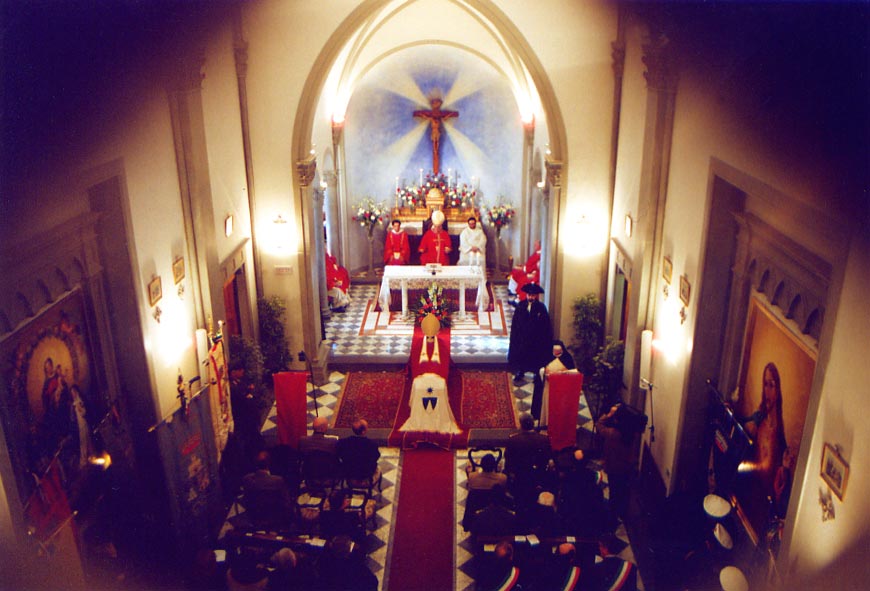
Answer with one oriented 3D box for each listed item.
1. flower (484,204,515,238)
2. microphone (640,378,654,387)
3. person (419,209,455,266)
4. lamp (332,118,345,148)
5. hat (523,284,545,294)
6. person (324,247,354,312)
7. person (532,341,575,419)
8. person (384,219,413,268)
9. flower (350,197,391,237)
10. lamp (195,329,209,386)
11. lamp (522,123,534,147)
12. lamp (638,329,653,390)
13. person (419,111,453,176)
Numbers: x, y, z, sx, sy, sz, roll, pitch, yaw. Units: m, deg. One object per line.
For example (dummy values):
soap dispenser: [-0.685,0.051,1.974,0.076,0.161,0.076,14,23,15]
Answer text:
flower: [1.808,-2.042,16.485,0.804,0.909,0.762,5,21,12]
microphone: [3.112,1.275,8.755,0.101,0.111,0.059,-16,41,-10]
person: [-0.001,-1.263,16.191,0.879,1.856,0.588,2,-24,-7]
lamp: [-2.435,-4.053,14.954,0.234,0.635,0.952,1,-1,-5]
hat: [1.840,-0.115,11.243,0.337,0.210,0.315,2,-1,-17]
person: [-2.425,-0.322,14.976,0.530,1.369,1.098,1,0,4]
person: [2.042,1.514,10.311,0.622,1.441,1.453,1,-1,2]
person: [-1.053,-1.393,16.084,0.615,1.195,1.242,1,-1,12]
flower: [-1.801,-2.188,16.652,0.924,1.027,0.962,3,9,2]
lamp: [-3.325,0.883,8.528,0.207,0.726,0.181,1,0,-16]
lamp: [2.269,-3.903,14.435,0.274,0.622,0.723,1,-1,6]
lamp: [3.129,0.943,8.807,0.190,0.898,0.242,1,0,18]
person: [0.009,-4.406,17.222,0.976,1.752,0.947,1,0,0]
